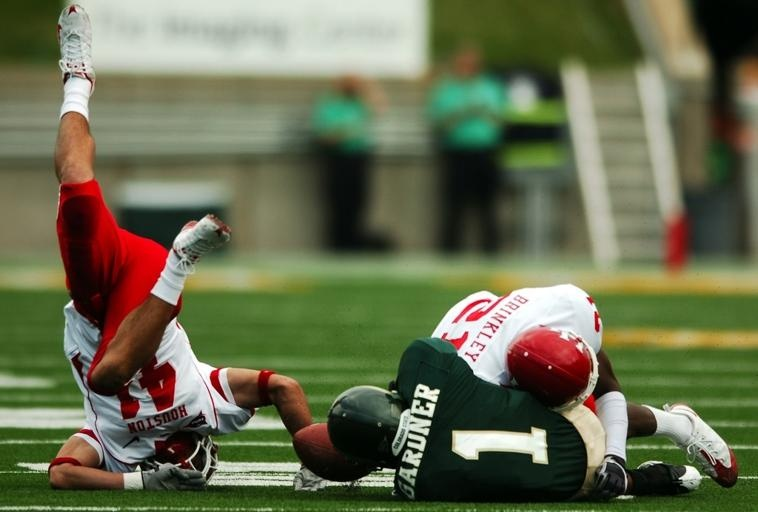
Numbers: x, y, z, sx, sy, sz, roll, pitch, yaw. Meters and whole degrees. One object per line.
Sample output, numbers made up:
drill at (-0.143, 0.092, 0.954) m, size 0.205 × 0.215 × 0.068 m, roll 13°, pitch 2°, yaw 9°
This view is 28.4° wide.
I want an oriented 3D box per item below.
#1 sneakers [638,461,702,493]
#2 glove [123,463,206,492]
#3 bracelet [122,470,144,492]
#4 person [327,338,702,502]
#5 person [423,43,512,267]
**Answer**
sneakers at (3.010, 2.260, 15.445) m, size 0.598 × 0.302 × 0.259 m, roll 2°, pitch 1°, yaw 5°
glove at (-2.201, 2.271, 15.359) m, size 0.492 × 0.184 × 0.380 m, roll 0°, pitch -2°, yaw -8°
bracelet at (-2.501, 2.287, 15.337) m, size 0.261 × 0.207 × 0.156 m, roll -3°, pitch -14°, yaw 1°
person at (0.906, 1.683, 15.075) m, size 2.651 × 1.541 × 0.452 m, roll 0°, pitch 13°, yaw 3°
person at (1.433, -1.383, 24.670) m, size 0.739 × 4.074 × 1.140 m, roll -7°, pitch 11°, yaw 14°
